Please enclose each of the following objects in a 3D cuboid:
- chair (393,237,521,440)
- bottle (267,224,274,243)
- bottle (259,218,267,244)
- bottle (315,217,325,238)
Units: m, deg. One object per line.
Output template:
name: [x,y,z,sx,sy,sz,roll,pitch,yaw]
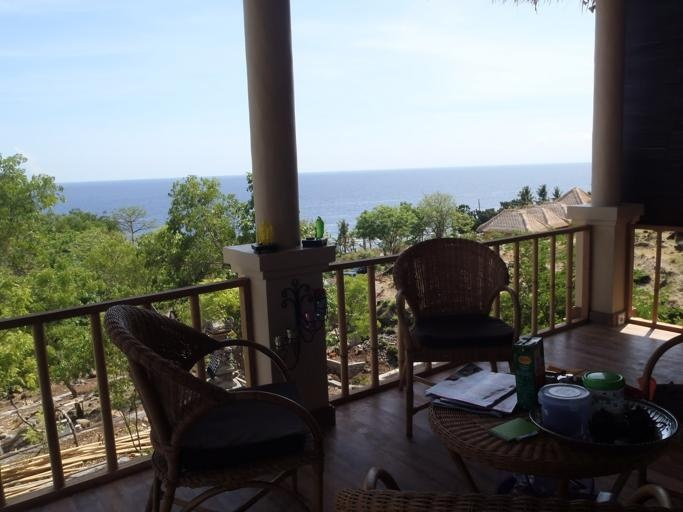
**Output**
chair: [0.728,0.495,3.528,0.720,1.139,0.807,-1,6,12]
bottle: [-0.419,-0.133,3.287,0.017,0.109,0.077,-5,9,11]
bottle: [-0.456,-0.136,3.252,0.042,0.121,0.061,2,12,45]
bottle: [-0.138,-0.172,3.427,0.055,0.141,0.163,-6,9,1]
